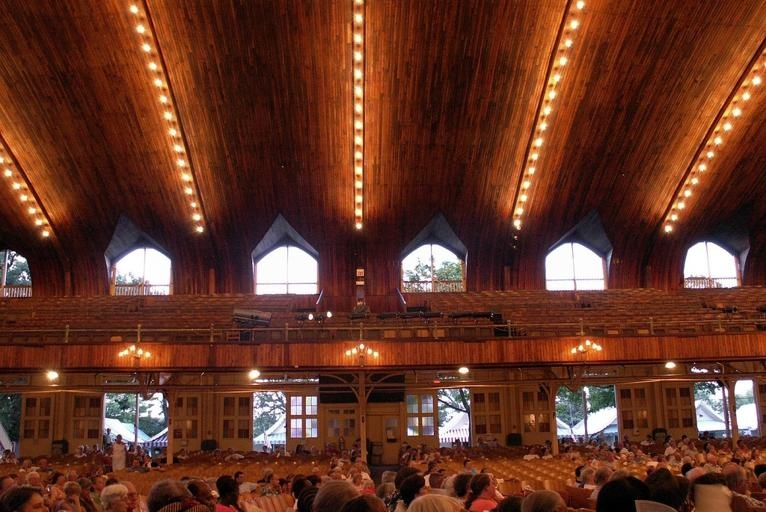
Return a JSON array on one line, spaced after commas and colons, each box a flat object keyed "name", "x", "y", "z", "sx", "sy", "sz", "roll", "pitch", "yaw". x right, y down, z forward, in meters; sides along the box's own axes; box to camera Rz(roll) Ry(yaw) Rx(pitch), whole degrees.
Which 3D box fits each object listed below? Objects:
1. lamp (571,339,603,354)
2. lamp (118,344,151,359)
[{"name": "lamp", "x": 7.710, "y": 3.490, "z": 22.958, "sx": 0.773, "sy": 0.380, "sz": 0.631, "roll": -10, "pitch": -10, "yaw": 35}, {"name": "lamp", "x": -8.908, "y": 3.558, "z": 22.084, "sx": 0.697, "sy": 0.421, "sz": 0.718, "roll": 3, "pitch": -14, "yaw": 4}]
